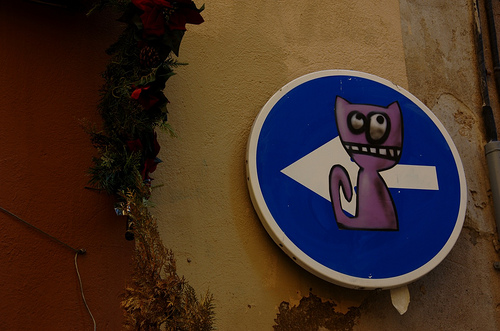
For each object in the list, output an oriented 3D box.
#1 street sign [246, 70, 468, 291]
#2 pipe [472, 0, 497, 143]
[{"bbox_3d":[0.601,0.062,3.821,1.280,0.106,1.212,5,72,-18],"label":"street sign"},{"bbox_3d":[1.352,-0.564,4.227,0.086,0.086,0.751,-3,74,-1],"label":"pipe"}]
